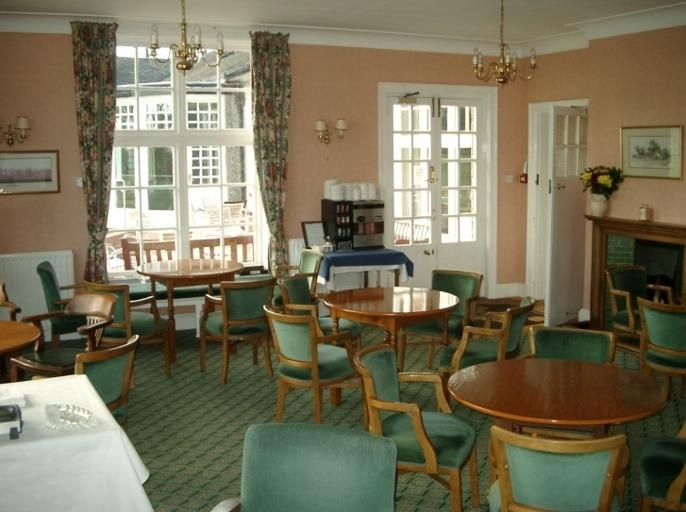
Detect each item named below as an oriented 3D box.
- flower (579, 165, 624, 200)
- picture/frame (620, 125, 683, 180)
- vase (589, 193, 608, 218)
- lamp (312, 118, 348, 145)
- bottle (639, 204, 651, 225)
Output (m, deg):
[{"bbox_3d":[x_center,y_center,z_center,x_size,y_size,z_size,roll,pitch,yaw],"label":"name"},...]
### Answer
[{"bbox_3d":[3.301,-0.954,7.189,0.382,0.423,0.407,-7,12,-29],"label":"flower"},{"bbox_3d":[3.760,-1.266,6.754,0.028,0.592,0.740,-14,16,-36],"label":"picture/frame"},{"bbox_3d":[3.308,-0.656,7.244,0.314,0.277,0.268,1,1,5],"label":"vase"},{"bbox_3d":[-0.167,-1.771,7.906,0.480,0.329,0.364,-1,11,-2],"label":"lamp"},{"bbox_3d":[3.689,-0.524,6.801,0.137,0.203,0.148,-1,11,0],"label":"bottle"}]
